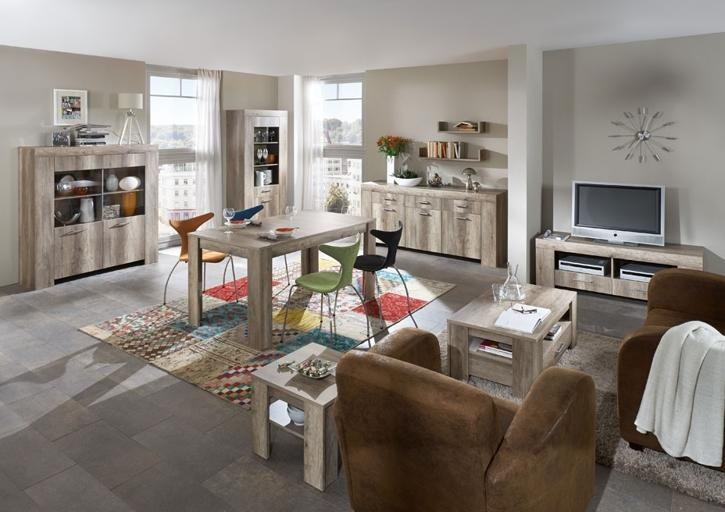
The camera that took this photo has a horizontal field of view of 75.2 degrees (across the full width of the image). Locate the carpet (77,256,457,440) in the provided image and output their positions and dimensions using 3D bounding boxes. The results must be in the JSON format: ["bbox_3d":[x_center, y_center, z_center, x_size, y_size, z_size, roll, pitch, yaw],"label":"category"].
[{"bbox_3d":[-0.752,0.564,5.600,2.435,0.017,3.610,11,19,32],"label":"carpet"}]

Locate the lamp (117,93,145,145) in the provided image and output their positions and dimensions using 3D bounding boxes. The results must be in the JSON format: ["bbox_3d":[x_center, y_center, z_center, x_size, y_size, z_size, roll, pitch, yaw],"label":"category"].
[{"bbox_3d":[-3.247,-1.943,6.710,0.353,0.649,0.355,3,10,25],"label":"lamp"}]

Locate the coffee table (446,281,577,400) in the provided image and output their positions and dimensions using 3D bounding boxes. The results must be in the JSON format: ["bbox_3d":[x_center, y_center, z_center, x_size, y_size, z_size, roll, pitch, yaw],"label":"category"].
[{"bbox_3d":[1.225,0.473,3.976,0.828,0.512,1.220,7,16,35],"label":"coffee table"}]

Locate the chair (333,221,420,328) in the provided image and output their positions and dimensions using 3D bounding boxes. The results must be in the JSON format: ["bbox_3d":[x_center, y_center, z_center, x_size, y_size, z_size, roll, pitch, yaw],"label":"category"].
[{"bbox_3d":[0.117,0.200,5.458,0.870,1.055,0.798,2,2,18],"label":"chair"}]

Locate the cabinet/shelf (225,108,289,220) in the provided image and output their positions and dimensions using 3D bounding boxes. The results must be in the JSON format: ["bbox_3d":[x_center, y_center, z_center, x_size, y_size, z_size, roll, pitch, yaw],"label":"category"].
[{"bbox_3d":[-1.856,-1.629,8.320,1.111,1.855,0.641,-3,13,-14],"label":"cabinet/shelf"}]

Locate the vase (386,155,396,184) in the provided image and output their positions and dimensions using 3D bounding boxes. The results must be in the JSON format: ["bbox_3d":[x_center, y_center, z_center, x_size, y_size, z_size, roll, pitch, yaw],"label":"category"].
[{"bbox_3d":[0.503,-1.465,7.981,0.182,0.440,0.470,1,12,3],"label":"vase"}]

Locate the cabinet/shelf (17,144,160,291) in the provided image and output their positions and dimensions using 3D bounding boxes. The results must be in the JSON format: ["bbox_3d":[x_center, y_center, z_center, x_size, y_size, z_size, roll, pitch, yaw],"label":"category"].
[{"bbox_3d":[-3.642,-0.632,6.406,0.544,1.711,1.901,14,16,18],"label":"cabinet/shelf"}]

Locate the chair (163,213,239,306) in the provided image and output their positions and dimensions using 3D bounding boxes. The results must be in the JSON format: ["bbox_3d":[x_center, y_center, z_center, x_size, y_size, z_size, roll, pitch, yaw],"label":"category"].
[{"bbox_3d":[-1.827,0.036,5.371,0.644,0.906,0.736,15,19,33],"label":"chair"}]

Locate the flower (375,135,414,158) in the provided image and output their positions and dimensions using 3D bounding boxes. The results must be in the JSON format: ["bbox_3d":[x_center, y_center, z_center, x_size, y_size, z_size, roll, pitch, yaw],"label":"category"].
[{"bbox_3d":[0.573,-1.777,7.931,0.472,0.311,0.422,2,4,30],"label":"flower"}]

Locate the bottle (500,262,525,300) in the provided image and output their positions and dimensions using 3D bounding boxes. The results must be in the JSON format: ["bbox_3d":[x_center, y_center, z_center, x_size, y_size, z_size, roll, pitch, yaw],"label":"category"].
[{"bbox_3d":[1.668,0.276,5.182,0.300,0.361,0.294,1,3,30],"label":"bottle"}]

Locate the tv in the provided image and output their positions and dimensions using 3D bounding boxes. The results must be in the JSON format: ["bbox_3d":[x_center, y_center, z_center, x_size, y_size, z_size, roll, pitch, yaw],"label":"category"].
[{"bbox_3d":[3.124,-0.500,5.696,0.900,0.590,0.148,4,6,29],"label":"tv"}]

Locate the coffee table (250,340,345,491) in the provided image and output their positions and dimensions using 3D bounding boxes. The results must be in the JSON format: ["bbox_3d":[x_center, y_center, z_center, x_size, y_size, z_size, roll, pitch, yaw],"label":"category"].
[{"bbox_3d":[-0.293,1.112,3.377,0.744,0.585,0.742,10,15,33],"label":"coffee table"}]

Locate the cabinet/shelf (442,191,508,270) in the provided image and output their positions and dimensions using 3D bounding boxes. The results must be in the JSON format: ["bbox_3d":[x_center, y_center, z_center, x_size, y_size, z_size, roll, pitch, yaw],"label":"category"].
[{"bbox_3d":[1.511,-0.349,7.207,1.067,1.115,0.411,5,-18,-9],"label":"cabinet/shelf"}]

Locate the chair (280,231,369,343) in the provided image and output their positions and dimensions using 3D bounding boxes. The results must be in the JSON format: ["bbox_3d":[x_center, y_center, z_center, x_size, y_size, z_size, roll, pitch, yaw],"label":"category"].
[{"bbox_3d":[-0.336,0.346,4.933,0.876,1.118,0.813,8,18,20],"label":"chair"}]

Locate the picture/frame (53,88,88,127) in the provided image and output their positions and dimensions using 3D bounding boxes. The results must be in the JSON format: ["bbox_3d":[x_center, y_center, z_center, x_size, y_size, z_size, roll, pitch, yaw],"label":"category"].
[{"bbox_3d":[-3.804,-1.953,6.167,0.023,0.573,0.545,6,11,40],"label":"picture/frame"}]

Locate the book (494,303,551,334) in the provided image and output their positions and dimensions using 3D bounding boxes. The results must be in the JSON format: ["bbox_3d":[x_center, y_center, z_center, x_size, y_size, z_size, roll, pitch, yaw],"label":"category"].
[{"bbox_3d":[1.309,0.515,3.896,0.236,0.055,0.318,8,24,37],"label":"book"}]
